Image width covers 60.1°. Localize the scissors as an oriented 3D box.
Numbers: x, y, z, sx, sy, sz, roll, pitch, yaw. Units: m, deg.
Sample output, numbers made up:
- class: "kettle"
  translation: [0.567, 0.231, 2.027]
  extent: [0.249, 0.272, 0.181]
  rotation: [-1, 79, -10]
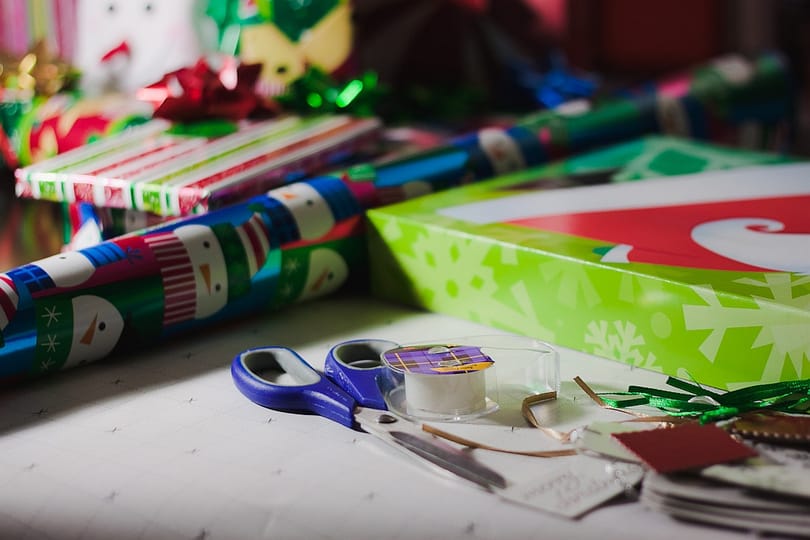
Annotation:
- class: "scissors"
  translation: [-0.037, 0.087, 0.544]
  extent: [0.099, 0.022, 0.190]
  rotation: [-11, 25, -44]
